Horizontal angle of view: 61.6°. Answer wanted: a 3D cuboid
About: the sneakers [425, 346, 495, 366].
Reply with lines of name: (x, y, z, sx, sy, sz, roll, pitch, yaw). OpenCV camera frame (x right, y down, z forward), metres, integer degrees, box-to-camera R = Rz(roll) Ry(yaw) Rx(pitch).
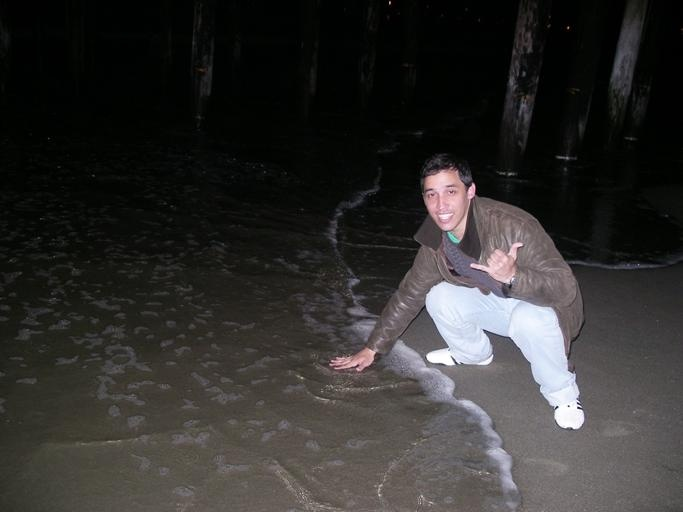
sneakers: (0.899, 0.789, 4.414, 0.552, 0.182, 0.164, 4, 26, 5)
